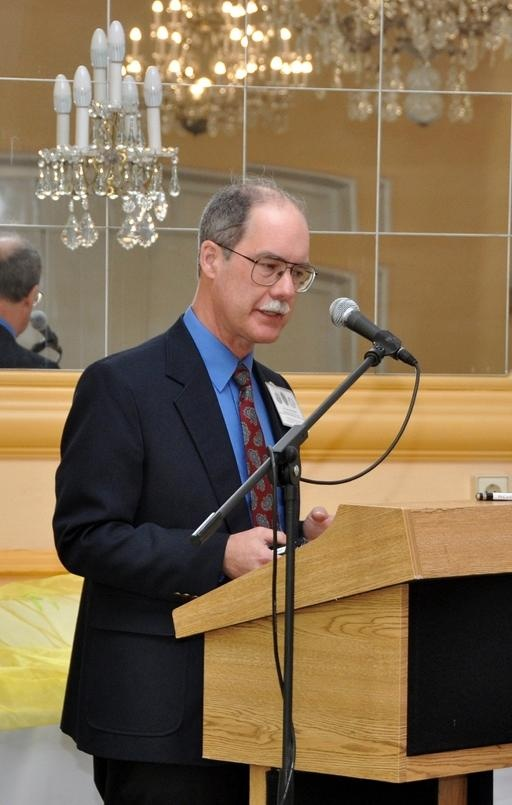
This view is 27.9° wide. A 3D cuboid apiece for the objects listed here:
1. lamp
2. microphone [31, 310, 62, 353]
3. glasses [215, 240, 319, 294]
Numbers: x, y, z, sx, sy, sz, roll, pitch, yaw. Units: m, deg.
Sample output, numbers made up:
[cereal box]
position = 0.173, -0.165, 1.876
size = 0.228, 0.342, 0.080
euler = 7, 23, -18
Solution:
[lamp]
position = -0.488, -0.856, 3.394
size = 0.479, 0.719, 0.457
euler = -5, 6, -24
[microphone]
position = -0.742, -0.241, 3.570
size = 0.092, 0.139, 0.055
euler = 0, 16, 0
[glasses]
position = 0.014, -0.233, 1.822
size = 0.159, 0.043, 0.160
euler = 17, 7, 12
